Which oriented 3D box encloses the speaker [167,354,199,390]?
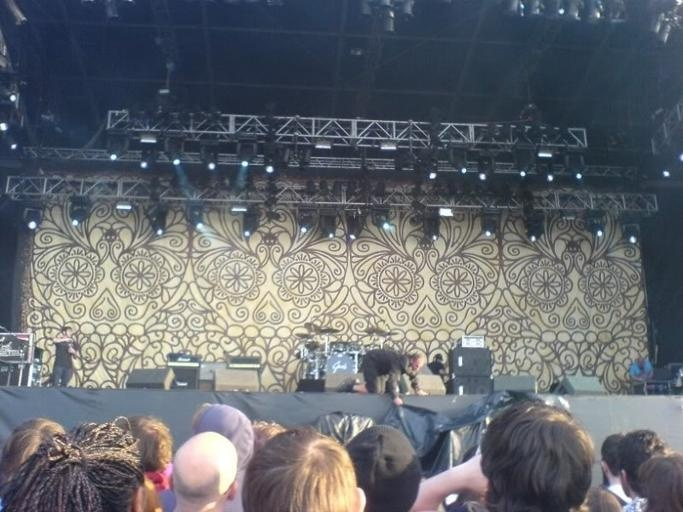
[{"bbox_3d":[-2.643,1.943,20.653,0.551,0.659,0.389,2,15,-10],"label":"speaker"}]

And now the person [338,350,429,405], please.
[{"bbox_3d":[0.605,1.936,20.004,1.000,0.609,0.938,-1,-15,11],"label":"person"}]

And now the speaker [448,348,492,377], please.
[{"bbox_3d":[2.124,1.734,20.166,0.712,0.434,0.480,0,3,1],"label":"speaker"}]

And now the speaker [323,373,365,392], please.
[{"bbox_3d":[0.053,2.120,20.628,0.381,0.245,0.379,-9,-17,21],"label":"speaker"}]

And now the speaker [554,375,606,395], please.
[{"bbox_3d":[3.761,2.035,19.408,0.723,0.336,0.609,1,-10,4],"label":"speaker"}]

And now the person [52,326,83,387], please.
[{"bbox_3d":[-5.211,1.874,23.249,0.453,1.162,1.089,4,-10,-13],"label":"person"}]

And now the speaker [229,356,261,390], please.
[{"bbox_3d":[-1.636,1.891,20.855,0.636,0.591,0.486,1,-22,-4],"label":"speaker"}]

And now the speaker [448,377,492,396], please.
[{"bbox_3d":[2.103,2.113,20.222,0.445,0.210,0.320,1,-12,-6],"label":"speaker"}]

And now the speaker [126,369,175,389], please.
[{"bbox_3d":[-3.042,1.942,19.664,0.729,0.362,0.567,4,-10,-12],"label":"speaker"}]

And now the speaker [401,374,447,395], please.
[{"bbox_3d":[1.386,2.189,20.975,0.469,0.323,0.239,-2,6,-3],"label":"speaker"}]
